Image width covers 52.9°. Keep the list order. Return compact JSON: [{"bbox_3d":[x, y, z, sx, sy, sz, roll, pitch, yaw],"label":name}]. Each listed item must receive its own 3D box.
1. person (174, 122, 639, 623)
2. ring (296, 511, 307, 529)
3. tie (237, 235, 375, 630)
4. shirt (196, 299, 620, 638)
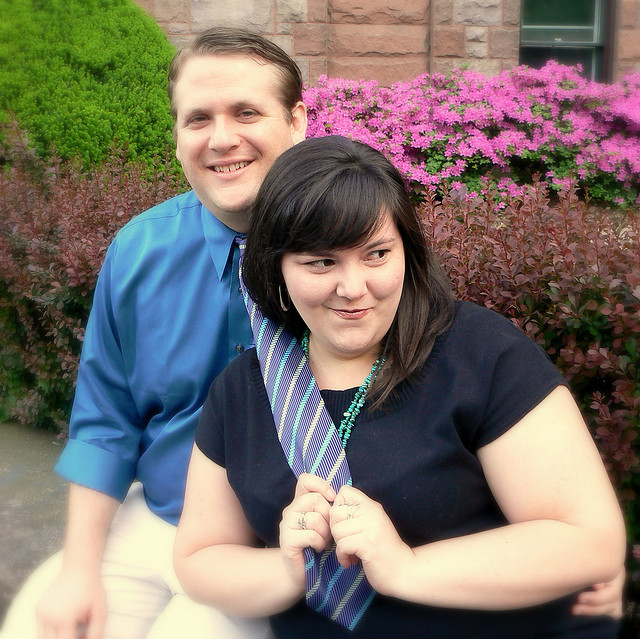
[{"bbox_3d":[0.182,0.161,1.480,1.024,1.118,0.555,9,21,26],"label":"person"},{"bbox_3d":[-0.041,0.433,1.398,0.021,0.032,0.022,0,19,0],"label":"ring"},{"bbox_3d":[-0.068,0.202,1.606,0.058,0.260,1.043,22,39,-46],"label":"tie"},{"bbox_3d":[0.169,0.364,1.479,0.955,0.783,0.505,-13,8,19],"label":"shirt"}]
